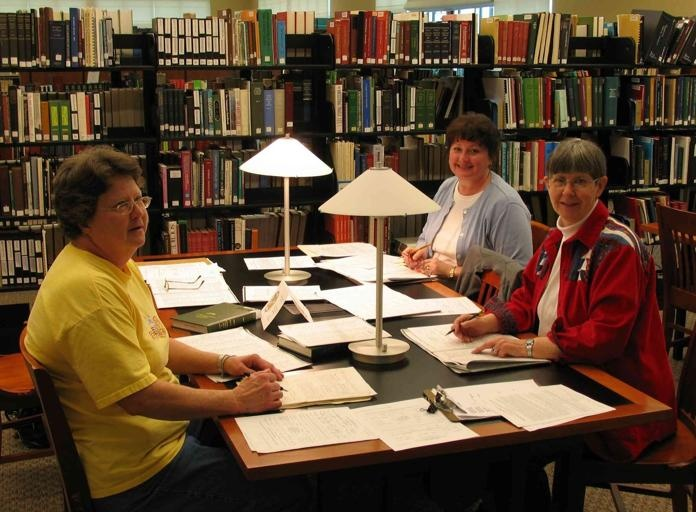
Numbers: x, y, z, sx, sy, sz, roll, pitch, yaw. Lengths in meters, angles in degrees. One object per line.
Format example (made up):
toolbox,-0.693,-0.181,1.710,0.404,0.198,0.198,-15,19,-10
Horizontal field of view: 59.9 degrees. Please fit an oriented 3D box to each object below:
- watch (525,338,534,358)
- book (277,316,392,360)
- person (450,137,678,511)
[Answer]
watch,0.627,0.318,2.077,0.027,0.050,0.045,1,11,16
book,-0.075,0.285,2.169,0.200,0.041,0.195,-7,17,-31
person,0.787,0.063,2.237,0.769,0.971,0.499,-2,10,0
